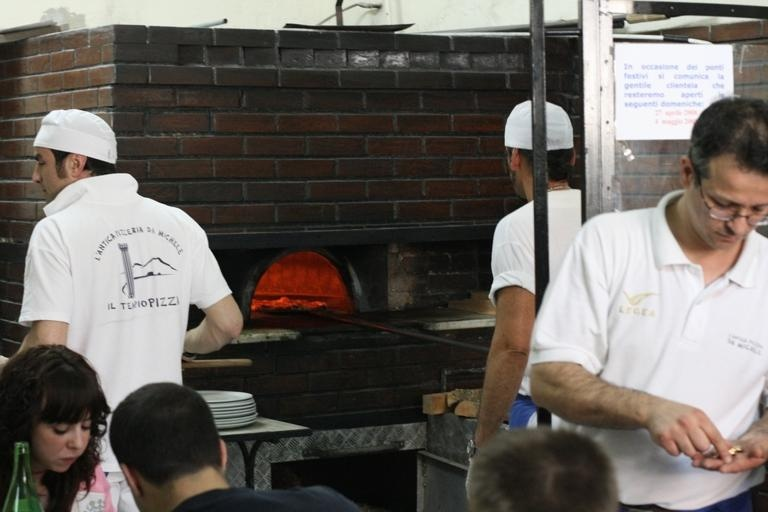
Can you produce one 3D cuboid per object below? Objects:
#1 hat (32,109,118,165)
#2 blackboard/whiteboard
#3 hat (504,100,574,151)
[{"bbox_3d":[-1.300,-0.531,4.026,0.373,0.196,0.299,11,9,-9],"label":"hat"},{"bbox_3d":[1.005,-0.578,3.334,0.518,0.324,0.050,0,-3,-15],"label":"blackboard/whiteboard"},{"bbox_3d":[0.603,-0.515,3.743,0.231,0.149,0.311,-2,7,-13],"label":"hat"}]
